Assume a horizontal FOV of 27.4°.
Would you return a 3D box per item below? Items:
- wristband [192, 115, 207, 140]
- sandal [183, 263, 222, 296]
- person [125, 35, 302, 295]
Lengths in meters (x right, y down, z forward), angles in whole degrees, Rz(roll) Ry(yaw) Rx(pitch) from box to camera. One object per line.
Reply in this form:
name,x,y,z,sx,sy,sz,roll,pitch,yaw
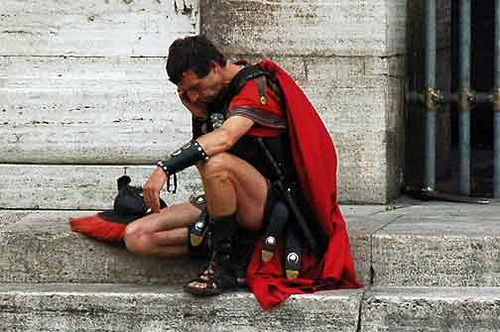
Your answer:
wristband,-0.385,-0.305,7.914,0.115,0.176,0.077,-1,2,6
sandal,-0.263,0.822,7.727,0.466,0.247,0.214,-3,6,-45
person,-0.291,-0.013,7.750,1.366,1.916,0.669,-1,2,9
